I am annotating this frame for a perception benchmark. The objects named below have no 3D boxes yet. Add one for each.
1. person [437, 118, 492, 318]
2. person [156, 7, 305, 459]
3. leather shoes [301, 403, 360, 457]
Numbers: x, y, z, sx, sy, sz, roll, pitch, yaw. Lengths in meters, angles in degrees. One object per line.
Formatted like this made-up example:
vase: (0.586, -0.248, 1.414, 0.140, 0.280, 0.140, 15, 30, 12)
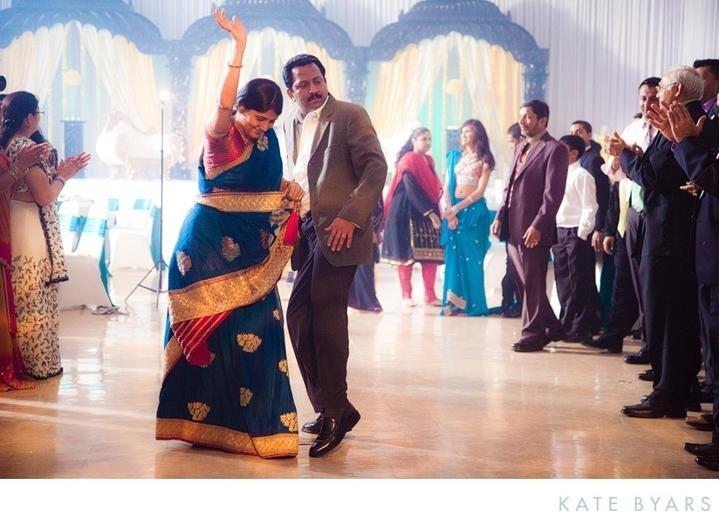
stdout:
person: (1.087, -0.381, 7.073, 0.493, 1.948, 0.289, 2, -2, 7)
person: (-0.584, -0.082, 3.332, 0.638, 2.023, 0.403, 3, -2, -17)
leather shoes: (-0.116, 0.822, 3.445, 0.349, 0.155, 0.123, -46, 28, -23)
